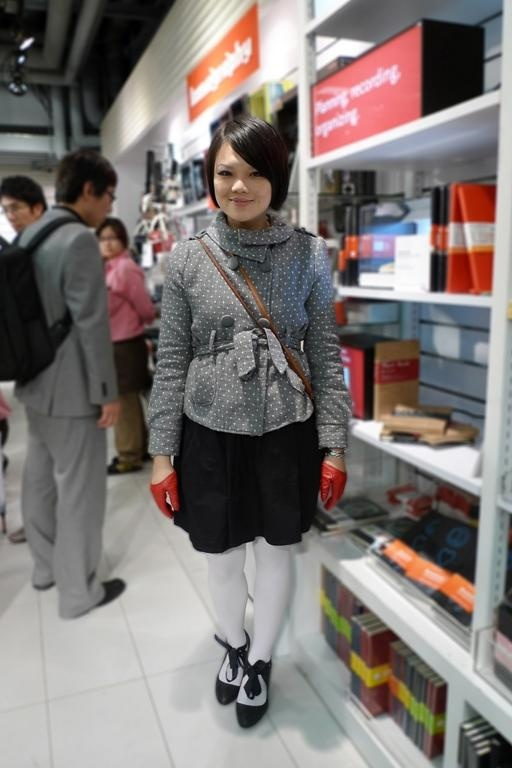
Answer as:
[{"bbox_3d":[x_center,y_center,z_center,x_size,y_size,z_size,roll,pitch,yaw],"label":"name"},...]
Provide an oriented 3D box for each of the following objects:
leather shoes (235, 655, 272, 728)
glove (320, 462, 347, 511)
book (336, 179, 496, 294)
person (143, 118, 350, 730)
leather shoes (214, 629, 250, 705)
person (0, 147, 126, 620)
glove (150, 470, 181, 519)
[{"bbox_3d":[-0.003,0.823,1.477,0.078,0.096,0.260,5,14,8],"label":"leather shoes"},{"bbox_3d":[0.193,0.246,1.262,0.039,0.083,0.116,22,-13,4],"label":"glove"},{"bbox_3d":[0.416,-0.348,1.370,0.263,0.134,0.371,-8,15,-25],"label":"book"},{"bbox_3d":[-0.007,0.171,1.313,0.459,1.498,0.328,3,8,13],"label":"person"},{"bbox_3d":[-0.075,0.812,1.518,0.071,0.236,0.086,6,-3,23],"label":"leather shoes"},{"bbox_3d":[-0.565,0.014,1.654,0.385,1.364,0.301,12,14,26],"label":"person"},{"bbox_3d":[-0.223,0.261,1.304,0.065,0.127,0.050,-4,32,-1],"label":"glove"}]
